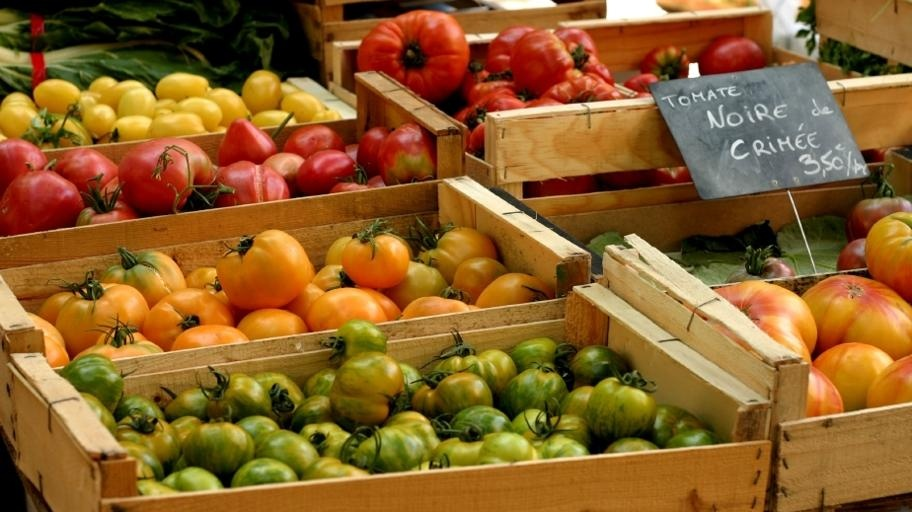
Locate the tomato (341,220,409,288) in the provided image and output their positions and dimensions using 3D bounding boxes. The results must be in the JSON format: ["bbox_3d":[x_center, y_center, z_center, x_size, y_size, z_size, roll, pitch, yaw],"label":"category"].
[{"bbox_3d":[-0.367,-0.011,3.780,0.289,0.274,0.286,-2,5,-11],"label":"tomato"}]

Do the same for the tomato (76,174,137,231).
[{"bbox_3d":[-1.661,-0.259,4.134,0.263,0.259,0.260,-4,0,-1],"label":"tomato"}]

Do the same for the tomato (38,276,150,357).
[{"bbox_3d":[-1.514,0.269,3.644,0.397,0.355,0.357,-14,9,-28],"label":"tomato"}]

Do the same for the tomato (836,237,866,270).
[{"bbox_3d":[1.840,-0.006,4.008,0.118,0.147,0.332,-2,14,23],"label":"tomato"}]

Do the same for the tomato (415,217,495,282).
[{"bbox_3d":[0.005,-0.018,3.888,0.166,0.208,0.167,-41,-12,-27],"label":"tomato"}]

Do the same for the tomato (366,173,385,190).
[{"bbox_3d":[-0.413,-0.373,4.399,0.082,0.085,0.097,-3,-30,-6],"label":"tomato"}]

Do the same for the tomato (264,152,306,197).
[{"bbox_3d":[-0.858,-0.452,4.494,0.205,0.209,0.215,-2,38,4],"label":"tomato"}]

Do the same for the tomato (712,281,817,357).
[{"bbox_3d":[1.217,0.264,3.403,0.376,0.266,0.296,-2,14,23],"label":"tomato"}]

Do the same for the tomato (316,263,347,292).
[{"bbox_3d":[-0.548,0.091,3.847,0.113,0.108,0.123,15,-9,-37],"label":"tomato"}]

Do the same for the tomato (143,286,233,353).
[{"bbox_3d":[-1.104,0.243,3.537,0.284,0.262,0.274,6,15,-11],"label":"tomato"}]

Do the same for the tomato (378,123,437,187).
[{"bbox_3d":[-0.245,-0.529,4.367,0.285,0.336,0.289,-19,15,-12],"label":"tomato"}]

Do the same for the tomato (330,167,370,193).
[{"bbox_3d":[-0.542,-0.386,4.333,0.197,0.102,0.385,-9,13,-5],"label":"tomato"}]

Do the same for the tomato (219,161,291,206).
[{"bbox_3d":[-0.983,-0.386,4.185,0.265,0.242,0.250,11,11,-9],"label":"tomato"}]

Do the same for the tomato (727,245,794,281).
[{"bbox_3d":[1.421,0.047,3.996,0.169,0.164,0.175,11,-30,-37],"label":"tomato"}]

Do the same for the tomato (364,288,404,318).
[{"bbox_3d":[-0.302,0.206,3.658,0.135,0.161,0.133,6,-16,-2],"label":"tomato"}]

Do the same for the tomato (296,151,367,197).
[{"bbox_3d":[-0.653,-0.423,4.360,0.293,0.258,0.248,-1,-36,-2],"label":"tomato"}]
